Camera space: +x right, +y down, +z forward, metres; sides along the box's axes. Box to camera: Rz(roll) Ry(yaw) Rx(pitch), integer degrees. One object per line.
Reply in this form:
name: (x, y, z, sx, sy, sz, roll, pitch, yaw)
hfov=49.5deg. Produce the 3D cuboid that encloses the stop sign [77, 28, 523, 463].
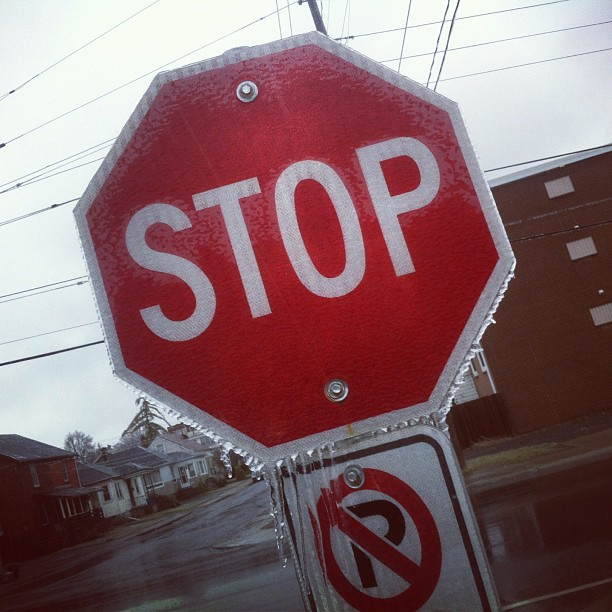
stop sign: (0.063, -0.157, 2.113, 1.265, 1.041, 0.338, -20, -3, 5)

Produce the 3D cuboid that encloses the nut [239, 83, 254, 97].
nut: (-0.150, -0.555, 1.669, 0.040, 0.031, 0.035, -1, 1, 7)
